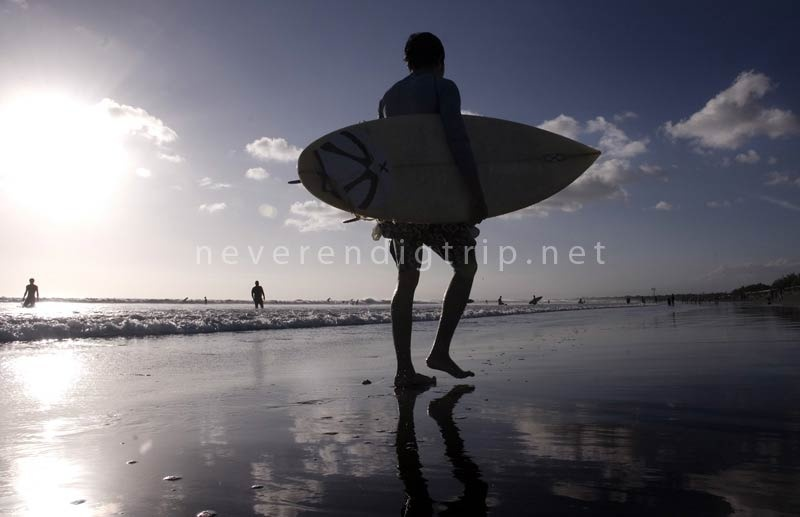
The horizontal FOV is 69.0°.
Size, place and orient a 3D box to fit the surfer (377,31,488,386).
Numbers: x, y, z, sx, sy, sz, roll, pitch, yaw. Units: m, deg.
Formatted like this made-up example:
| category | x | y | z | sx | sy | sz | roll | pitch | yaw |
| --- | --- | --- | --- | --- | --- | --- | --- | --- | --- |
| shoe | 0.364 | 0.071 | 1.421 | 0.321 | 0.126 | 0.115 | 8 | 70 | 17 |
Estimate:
| category | x | y | z | sx | sy | sz | roll | pitch | yaw |
| --- | --- | --- | --- | --- | --- | --- | --- | --- | --- |
| surfer | 0.218 | -0.366 | 3.965 | 0.724 | 2.405 | 0.458 | -1 | 0 | -1 |
